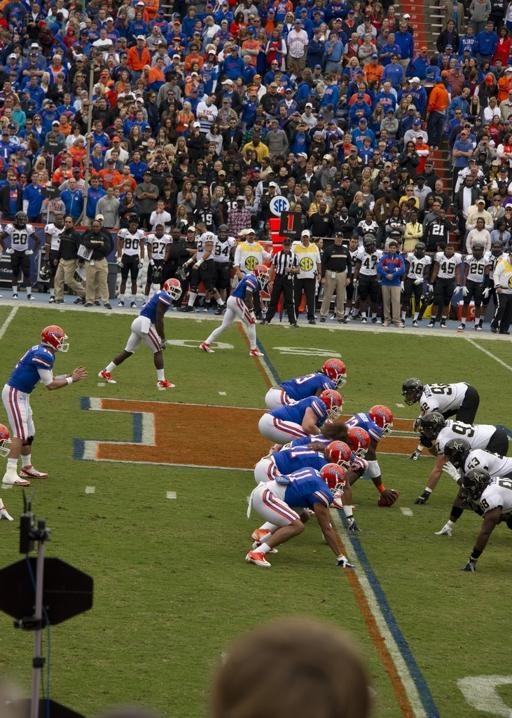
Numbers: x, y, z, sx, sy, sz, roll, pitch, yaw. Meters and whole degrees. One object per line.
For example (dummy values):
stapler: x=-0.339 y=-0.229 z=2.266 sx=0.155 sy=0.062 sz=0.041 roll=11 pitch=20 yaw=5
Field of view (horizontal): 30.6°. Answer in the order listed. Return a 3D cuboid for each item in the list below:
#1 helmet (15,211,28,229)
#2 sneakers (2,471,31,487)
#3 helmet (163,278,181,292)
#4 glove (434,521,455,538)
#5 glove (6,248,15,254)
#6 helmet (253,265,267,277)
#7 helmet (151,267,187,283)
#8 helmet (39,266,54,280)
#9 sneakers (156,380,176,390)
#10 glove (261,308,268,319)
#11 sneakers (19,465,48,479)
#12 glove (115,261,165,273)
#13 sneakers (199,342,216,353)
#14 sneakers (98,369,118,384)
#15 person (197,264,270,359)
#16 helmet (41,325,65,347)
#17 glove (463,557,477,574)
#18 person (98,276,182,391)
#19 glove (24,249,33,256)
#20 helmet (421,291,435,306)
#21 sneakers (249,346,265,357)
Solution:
helmet: x=-5.105 y=-2.959 z=20.307 sx=0.304 sy=0.302 sz=0.383 roll=2 pitch=3 yaw=-26
sneakers: x=-2.342 y=1.200 z=9.269 sx=0.354 sy=0.138 sz=0.111 roll=1 pitch=7 yaw=11
helmet: x=-1.298 y=-1.103 z=14.374 sx=0.281 sy=0.196 sz=0.189 roll=2 pitch=12 yaw=4
glove: x=1.859 y=1.659 z=9.202 sx=0.166 sy=0.163 sz=0.293 roll=9 pitch=9 yaw=14
glove: x=-5.433 y=-2.306 z=20.448 sx=0.132 sy=0.150 sz=0.136 roll=-21 pitch=43 yaw=-19
helmet: x=0.068 y=-1.549 z=16.794 sx=0.248 sy=0.200 sz=0.169 roll=-16 pitch=38 yaw=8
helmet: x=-1.906 y=-1.798 z=20.584 sx=0.717 sy=0.252 sz=0.388 roll=-3 pitch=6 yaw=-17
helmet: x=-4.801 y=-1.896 z=21.341 sx=0.301 sy=0.364 sz=0.173 roll=13 pitch=22 yaw=41
sneakers: x=-1.439 y=0.415 z=14.427 sx=0.340 sy=0.124 sz=0.115 roll=-4 pitch=13 yaw=-15
glove: x=0.149 y=-0.966 z=21.151 sx=0.197 sy=0.187 sz=0.155 roll=10 pitch=-14 yaw=-2
sneakers: x=-2.313 y=1.160 z=9.656 sx=0.345 sy=0.134 sz=0.112 roll=4 pitch=16 yaw=-2
glove: x=-2.640 y=-2.030 z=20.840 sx=0.534 sy=0.229 sz=0.690 roll=1 pitch=-3 yaw=-18
sneakers: x=-0.957 y=-0.185 z=17.474 sx=0.162 sy=0.116 sz=0.364 roll=-26 pitch=-10 yaw=8
sneakers: x=-2.374 y=0.293 z=14.509 sx=0.385 sy=0.159 sz=0.133 roll=14 pitch=11 yaw=41
person: x=-0.361 y=-0.846 z=17.063 sx=1.136 sy=1.717 sz=0.823 roll=7 pitch=10 yaw=-3
helmet: x=-2.122 y=-0.204 z=9.636 sx=0.309 sy=0.255 sz=0.248 roll=1 pitch=18 yaw=-18
glove: x=1.869 y=1.806 z=8.185 sx=0.074 sy=0.137 sz=0.210 roll=-16 pitch=9 yaw=-4
person: x=-1.714 y=-0.384 z=14.422 sx=1.068 sy=1.706 sz=1.057 roll=7 pitch=10 yaw=-5
glove: x=-5.064 y=-2.308 z=20.607 sx=0.089 sy=0.145 sz=0.107 roll=19 pitch=35 yaw=-52
helmet: x=3.889 y=-1.356 z=21.185 sx=0.384 sy=0.419 sz=0.254 roll=1 pitch=1 yaw=-38
sneakers: x=-0.016 y=-0.107 z=17.434 sx=0.346 sy=0.205 sz=0.104 roll=-3 pitch=28 yaw=-6
